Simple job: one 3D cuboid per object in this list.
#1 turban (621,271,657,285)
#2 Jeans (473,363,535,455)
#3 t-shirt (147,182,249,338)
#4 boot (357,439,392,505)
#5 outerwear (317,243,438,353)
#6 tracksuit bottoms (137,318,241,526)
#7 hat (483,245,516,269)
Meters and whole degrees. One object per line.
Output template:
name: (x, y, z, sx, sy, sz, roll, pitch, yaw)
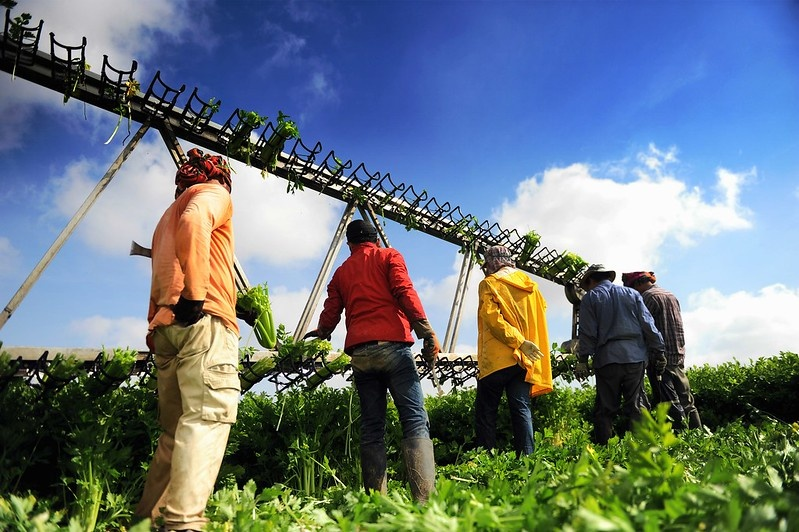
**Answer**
turban: (2.963, 0.148, 6.176, 0.273, 0.086, 0.273, -11, -6, 39)
Jeans: (0.959, 1.341, 4.675, 0.562, 0.777, 0.409, -7, -29, 12)
t-shirt: (-1.328, 0.008, 3.268, 0.620, 0.884, 0.694, 20, -38, -39)
boot: (-0.191, 1.505, 3.787, 0.207, 0.355, 0.157, 0, -28, -1)
outerwear: (-0.183, 0.292, 3.972, 0.823, 0.697, 0.294, -17, -43, 13)
tracksuit bottoms: (-1.408, 0.967, 3.205, 0.591, 1.244, 0.516, -21, -34, 33)
hat: (1.062, -0.105, 5.520, 0.351, 0.247, 0.461, 5, -2, -10)
